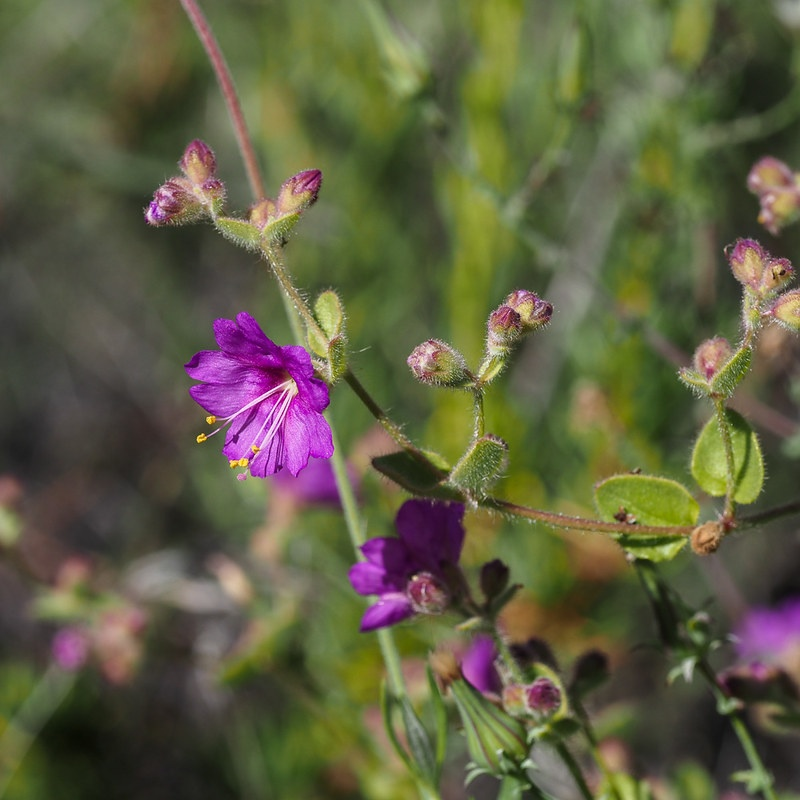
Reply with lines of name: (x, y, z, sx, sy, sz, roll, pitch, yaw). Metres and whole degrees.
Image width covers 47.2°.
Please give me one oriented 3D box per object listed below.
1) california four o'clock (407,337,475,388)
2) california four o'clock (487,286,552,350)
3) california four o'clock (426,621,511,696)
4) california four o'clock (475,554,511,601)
california four o'clock: (0.070, -0.054, 1.594, 0.102, 0.075, 0.055, 21, 10, -37)
california four o'clock: (0.211, -0.131, 1.622, 0.093, 0.080, 0.118, 17, 49, 25)
california four o'clock: (0.130, 0.519, 1.790, 0.132, 0.149, 0.053, 15, 19, 15)
california four o'clock: (0.175, 0.321, 1.681, 0.048, 0.077, 0.024, 12, 1, -10)
